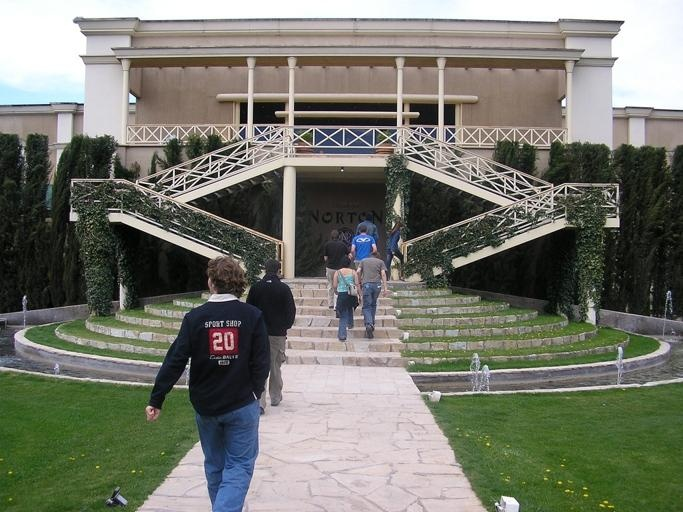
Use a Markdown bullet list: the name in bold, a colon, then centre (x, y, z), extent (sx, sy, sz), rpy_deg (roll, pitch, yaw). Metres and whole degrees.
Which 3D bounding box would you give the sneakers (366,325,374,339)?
- **sneakers**: centre (0.649, 1.669, 15.429), extent (0.119, 0.353, 0.141), rpy_deg (-1, 18, -1)

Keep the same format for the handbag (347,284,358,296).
- **handbag**: centre (0.234, 0.721, 14.887), extent (0.206, 0.207, 0.080), rpy_deg (6, -14, -36)
